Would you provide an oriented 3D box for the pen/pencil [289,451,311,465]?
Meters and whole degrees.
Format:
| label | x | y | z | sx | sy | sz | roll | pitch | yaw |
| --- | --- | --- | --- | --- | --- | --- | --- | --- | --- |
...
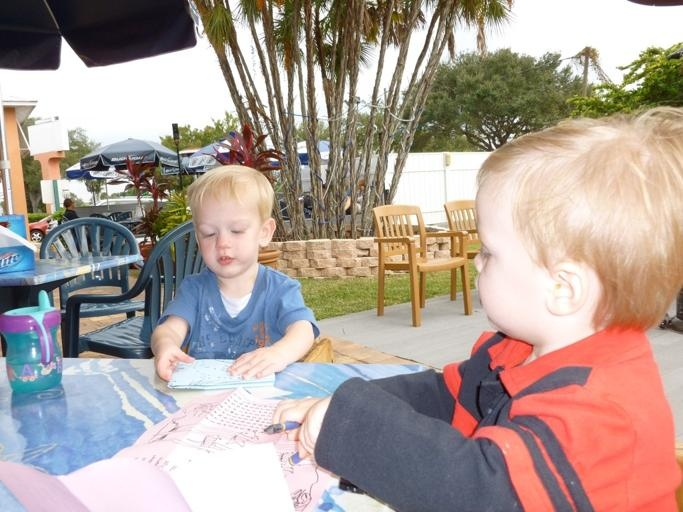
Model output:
| label | x | y | z | sx | sy | sz | roll | pitch | yaw |
| --- | --- | --- | --- | --- | --- | --- | --- | --- | --- |
| pen/pencil | -0.078 | 0.360 | 0.817 | 0.032 | 0.018 | 0.011 | 8 | 5 | -8 |
